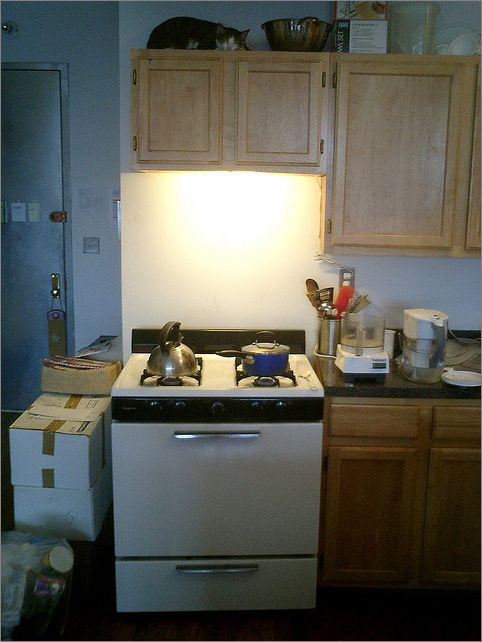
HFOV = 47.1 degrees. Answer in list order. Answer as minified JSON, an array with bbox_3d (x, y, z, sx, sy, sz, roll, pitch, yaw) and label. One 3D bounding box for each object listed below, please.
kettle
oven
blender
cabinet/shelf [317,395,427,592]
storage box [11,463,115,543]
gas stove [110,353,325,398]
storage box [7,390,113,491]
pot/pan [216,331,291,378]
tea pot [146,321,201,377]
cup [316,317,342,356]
[{"bbox_3d":[0.695,0.091,2.100,0.155,0.242,0.239,3,11,16],"label":"kettle"},{"bbox_3d":[-0.096,0.641,2.142,0.733,0.794,0.536,1,0,-3],"label":"oven"},{"bbox_3d":[0.469,0.095,2.135,0.186,0.231,0.263,0,9,12],"label":"blender"},{"bbox_3d":[0.473,0.619,2.179,0.408,0.670,0.394,3,1,9],"label":"cabinet/shelf"},{"bbox_3d":[-0.683,0.708,2.102,0.233,0.126,0.310,1,3,-1],"label":"storage box"},{"bbox_3d":[-0.085,0.198,2.080,0.732,0.040,0.486,0,11,-2],"label":"gas stove"},{"bbox_3d":[-0.676,0.445,2.145,0.353,0.230,0.347,2,8,4],"label":"storage box"},{"bbox_3d":[0.062,0.121,1.962,0.174,0.153,0.266,5,9,40],"label":"pot/pan"},{"bbox_3d":[-0.256,0.098,2.016,0.195,0.189,0.204,1,7,0],"label":"tea pot"},{"bbox_3d":[0.349,0.063,2.335,0.136,0.204,0.130,0,8,0],"label":"cup"}]
